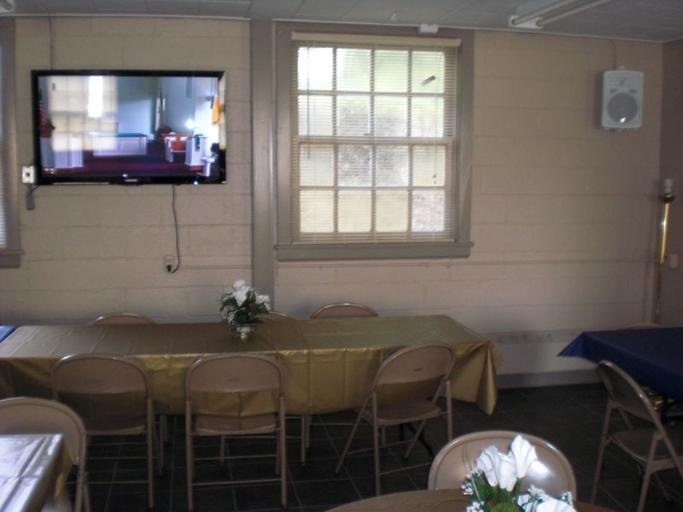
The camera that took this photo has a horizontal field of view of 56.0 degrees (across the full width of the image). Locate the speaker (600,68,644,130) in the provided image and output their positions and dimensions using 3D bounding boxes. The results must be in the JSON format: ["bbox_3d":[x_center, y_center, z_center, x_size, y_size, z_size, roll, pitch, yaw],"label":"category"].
[{"bbox_3d":[2.502,-1.347,5.509,0.212,0.557,0.718,-5,9,-6],"label":"speaker"}]

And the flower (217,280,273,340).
[{"bbox_3d":[-0.656,0.370,4.456,0.379,0.377,0.384,3,-2,-36],"label":"flower"}]
